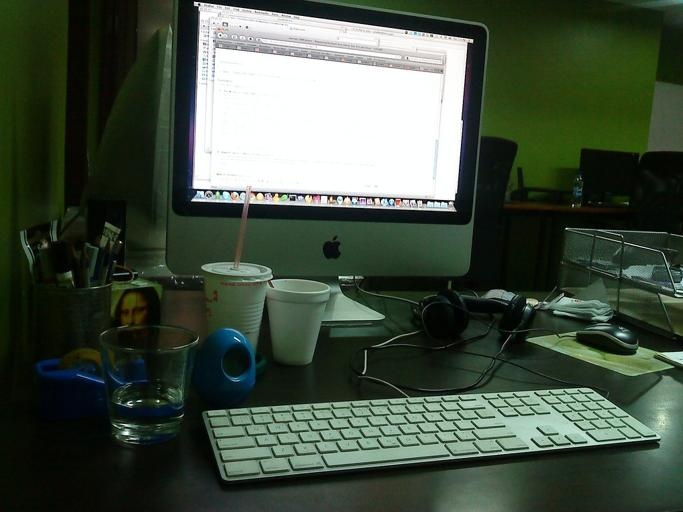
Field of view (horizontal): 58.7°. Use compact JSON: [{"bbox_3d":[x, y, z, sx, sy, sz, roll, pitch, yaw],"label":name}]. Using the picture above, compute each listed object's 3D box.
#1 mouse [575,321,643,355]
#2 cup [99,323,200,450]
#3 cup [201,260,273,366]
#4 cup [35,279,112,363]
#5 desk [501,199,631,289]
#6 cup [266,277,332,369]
[{"bbox_3d":[0.516,0.156,1.155,0.052,0.034,0.091,4,10,-31],"label":"mouse"},{"bbox_3d":[-0.264,0.174,0.843,0.130,0.150,0.133,6,8,-1],"label":"cup"},{"bbox_3d":[-0.202,0.079,1.098,0.119,0.166,0.163,-2,14,-37],"label":"cup"},{"bbox_3d":[-0.394,0.089,0.899,0.102,0.118,0.103,4,5,0],"label":"cup"},{"bbox_3d":[1.579,0.000,4.400,0.888,0.678,0.547,4,12,9],"label":"desk"},{"bbox_3d":[-0.080,0.117,1.078,0.119,0.133,0.126,4,6,0],"label":"cup"}]
